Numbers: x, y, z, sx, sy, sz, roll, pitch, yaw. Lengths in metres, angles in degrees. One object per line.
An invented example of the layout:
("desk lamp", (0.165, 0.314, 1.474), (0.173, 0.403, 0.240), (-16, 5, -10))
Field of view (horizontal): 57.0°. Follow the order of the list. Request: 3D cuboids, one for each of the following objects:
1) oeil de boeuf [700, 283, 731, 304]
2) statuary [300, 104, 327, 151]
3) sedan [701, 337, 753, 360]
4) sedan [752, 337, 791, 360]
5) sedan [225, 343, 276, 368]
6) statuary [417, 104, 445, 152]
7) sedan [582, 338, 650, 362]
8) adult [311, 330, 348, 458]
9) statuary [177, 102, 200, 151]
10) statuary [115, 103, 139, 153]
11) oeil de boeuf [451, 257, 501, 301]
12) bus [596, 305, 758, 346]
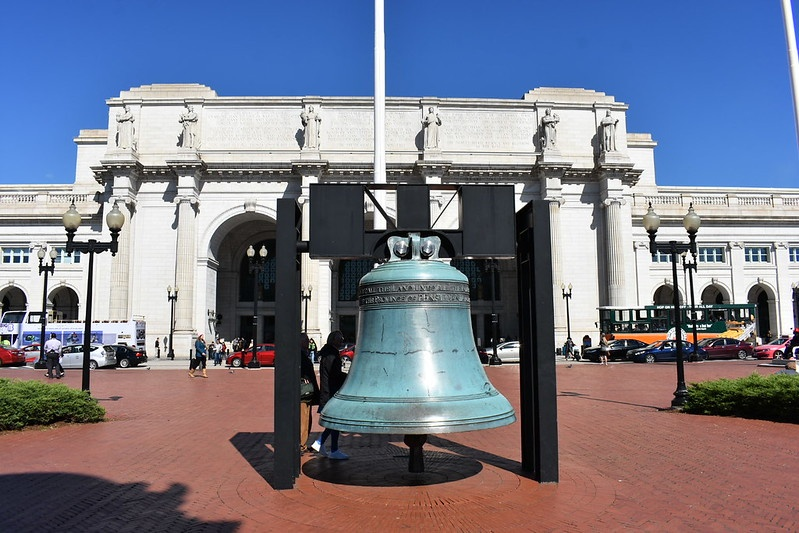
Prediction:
("oeil de boeuf", (26.282, 2.127, 61.537), (1.830, 1.721, 0.931), (-1, -12, 1))
("statuary", (-6.571, -10.229, 54.092), (1.399, 3.795, 1.477), (0, -6, -10))
("sedan", (20.526, 5.000, 46.200), (3.734, 1.126, 1.612), (3, -11, -6))
("sedan", (21.729, 4.824, 43.061), (1.873, 1.175, 2.668), (-4, -6, 26))
("sedan", (-8.892, 5.294, 43.870), (2.617, 1.298, 2.867), (1, -6, -13))
("statuary", (2.286, -10.287, 54.744), (1.387, 3.923, 1.869), (-1, -6, 1))
("sedan", (13.133, 5.072, 44.704), (3.411, 1.057, 1.486), (2, -11, 0))
("adult", (-1.486, 3.088, 17.201), (1.306, 3.151, 1.218), (1, 15, -1))
("statuary", (-15.449, -10.214, 53.982), (1.371, 3.845, 2.164), (1, -6, -17))
("statuary", (-20.145, -10.489, 54.001), (0.945, 0.713, 2.288), (2, -49, -33))
("oeil de boeuf", (4.496, 0.547, 41.894), (3.455, 2.424, 0.148), (5, -13, -29))
("bus", (18.791, 3.483, 49.801), (12.023, 3.256, 3.477), (2, -12, -3))
